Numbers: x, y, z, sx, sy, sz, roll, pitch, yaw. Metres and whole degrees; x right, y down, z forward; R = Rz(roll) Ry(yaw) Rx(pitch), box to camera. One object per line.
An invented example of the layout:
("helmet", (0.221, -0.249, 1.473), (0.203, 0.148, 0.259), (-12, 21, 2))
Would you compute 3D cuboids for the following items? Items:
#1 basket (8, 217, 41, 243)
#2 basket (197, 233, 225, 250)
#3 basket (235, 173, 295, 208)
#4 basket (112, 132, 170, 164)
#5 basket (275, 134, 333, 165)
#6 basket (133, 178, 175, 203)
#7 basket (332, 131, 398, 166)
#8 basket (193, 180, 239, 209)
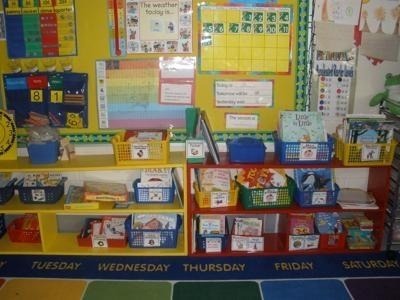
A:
("basket", (-1.678, 0.773, 3.424), (0.229, 0.156, 0.348), (1, 8, -7))
("basket", (0.107, 0.845, 3.307), (0.210, 0.100, 0.147), (1, -3, 0))
("basket", (0.609, 0.375, 3.249), (0.348, 0.150, 0.259), (-2, 10, -5))
("basket", (-0.510, -0.037, 3.226), (0.478, 0.249, 0.314), (-3, 19, 0))
("basket", (0.926, -0.017, 3.086), (0.345, 0.151, 0.244), (-2, 13, -1))
("basket", (-0.419, 0.375, 3.268), (0.300, 0.123, 0.198), (0, 6, -7))
("basket", (1.457, -0.011, 3.102), (0.386, 0.171, 0.252), (-1, 20, 2))
("basket", (0.160, 0.402, 3.255), (0.346, 0.144, 0.219), (-2, 10, -6))
